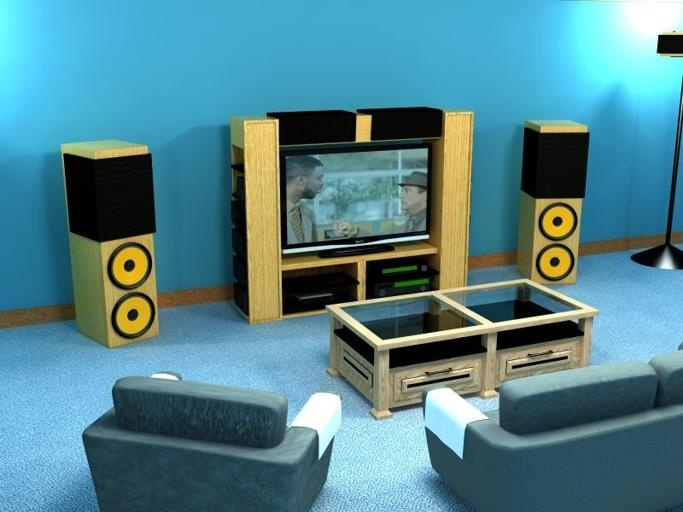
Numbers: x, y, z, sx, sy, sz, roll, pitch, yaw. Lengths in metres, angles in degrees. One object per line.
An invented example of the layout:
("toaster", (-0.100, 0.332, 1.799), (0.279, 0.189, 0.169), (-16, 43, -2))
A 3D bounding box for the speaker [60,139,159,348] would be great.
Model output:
("speaker", (-1.873, -0.113, 4.639), (0.658, 1.587, 0.579), (-17, 22, -39))

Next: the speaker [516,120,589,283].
("speaker", (2.170, -0.549, 5.869), (0.628, 1.634, 0.489), (2, 18, 16))

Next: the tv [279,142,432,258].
("tv", (0.084, -0.533, 5.230), (1.202, 0.722, 0.029), (-5, 15, -18))
